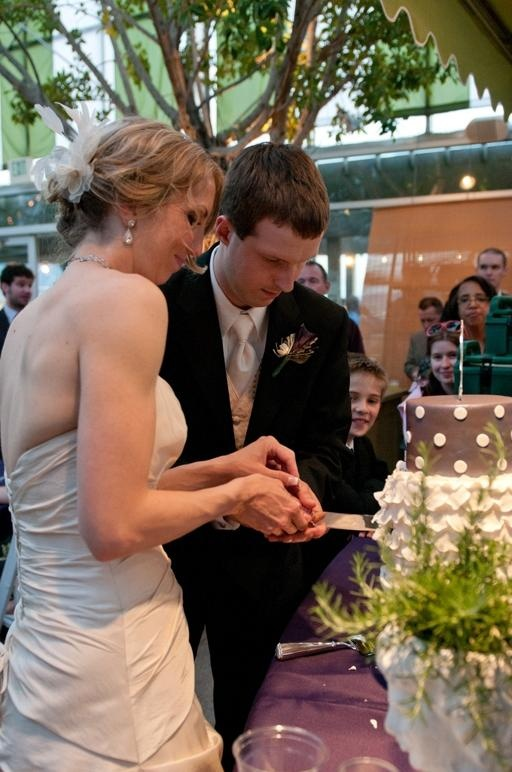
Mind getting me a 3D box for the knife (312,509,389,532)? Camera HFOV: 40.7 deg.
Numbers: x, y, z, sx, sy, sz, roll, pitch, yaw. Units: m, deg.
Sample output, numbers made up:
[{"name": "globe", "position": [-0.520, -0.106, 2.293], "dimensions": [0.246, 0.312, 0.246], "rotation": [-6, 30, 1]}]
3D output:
[{"name": "knife", "position": [0.237, 0.381, 1.949], "dimensions": [0.260, 0.017, 0.072], "rotation": [3, 44, 22]}]
